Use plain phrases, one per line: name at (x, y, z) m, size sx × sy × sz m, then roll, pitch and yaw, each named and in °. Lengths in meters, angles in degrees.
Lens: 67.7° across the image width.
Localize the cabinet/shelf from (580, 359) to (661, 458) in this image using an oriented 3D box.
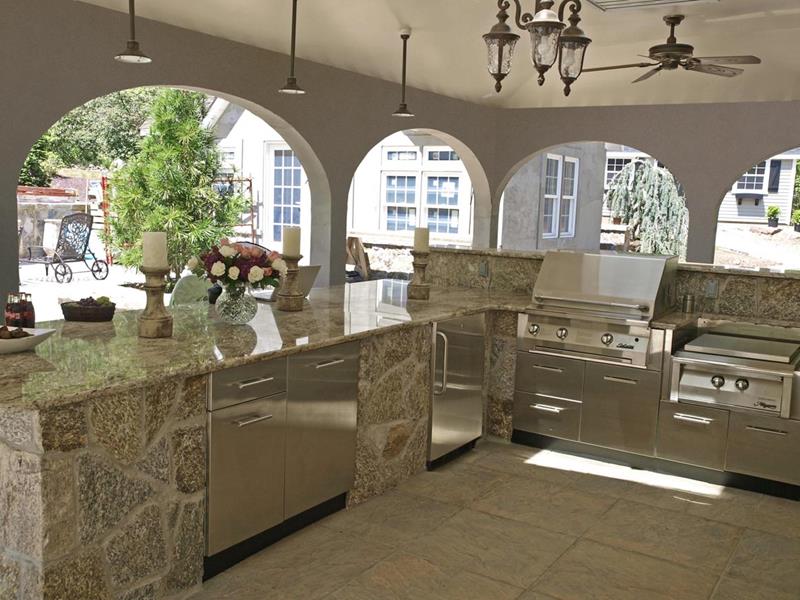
cabinet/shelf at (1.609, 1.001, 4.481) m, size 0.586 × 0.540 × 0.789 m, roll 7°, pitch 37°, yaw 21°

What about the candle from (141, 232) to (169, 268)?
candle at (-1.213, -0.245, 2.936) m, size 0.162 × 0.194 × 0.161 m, roll -1°, pitch 5°, yaw -29°

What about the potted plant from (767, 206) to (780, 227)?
potted plant at (11.260, -2.506, 17.976) m, size 0.378 × 0.698 × 0.501 m, roll 7°, pitch 14°, yaw 40°

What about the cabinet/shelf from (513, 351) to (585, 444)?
cabinet/shelf at (1.197, 0.775, 4.733) m, size 0.588 × 0.703 × 0.539 m, roll 5°, pitch 6°, yaw 7°

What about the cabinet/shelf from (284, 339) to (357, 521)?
cabinet/shelf at (-0.331, 0.783, 3.510) m, size 0.534 × 0.876 × 0.540 m, roll 14°, pitch -22°, yaw -11°

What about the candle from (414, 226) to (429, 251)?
candle at (0.167, -0.467, 4.616) m, size 0.103 × 0.178 × 0.098 m, roll 0°, pitch 11°, yaw -7°

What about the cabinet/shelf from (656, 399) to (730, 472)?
cabinet/shelf at (2.018, 0.886, 4.209) m, size 0.492 × 0.507 × 0.395 m, roll 8°, pitch 6°, yaw 32°

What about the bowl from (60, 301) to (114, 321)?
bowl at (-1.722, 0.062, 3.273) m, size 0.277 × 0.102 × 0.118 m, roll 3°, pitch 11°, yaw 6°

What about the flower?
flower at (-0.938, -0.149, 3.448) m, size 0.441 × 0.439 × 0.433 m, roll -2°, pitch 6°, yaw -45°

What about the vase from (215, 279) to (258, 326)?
vase at (-0.911, 0.014, 3.332) m, size 0.210 × 0.214 × 0.216 m, roll 2°, pitch 6°, yaw 19°

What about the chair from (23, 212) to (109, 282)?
chair at (-5.920, -0.931, 10.533) m, size 1.525 × 1.148 × 0.616 m, roll 7°, pitch 8°, yaw 40°
